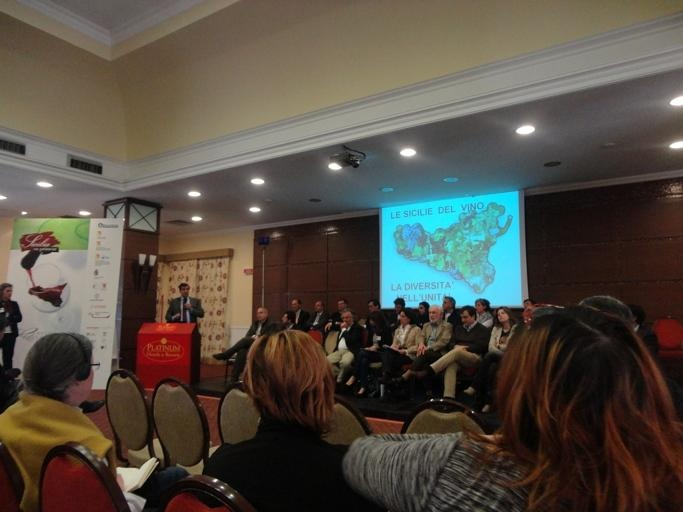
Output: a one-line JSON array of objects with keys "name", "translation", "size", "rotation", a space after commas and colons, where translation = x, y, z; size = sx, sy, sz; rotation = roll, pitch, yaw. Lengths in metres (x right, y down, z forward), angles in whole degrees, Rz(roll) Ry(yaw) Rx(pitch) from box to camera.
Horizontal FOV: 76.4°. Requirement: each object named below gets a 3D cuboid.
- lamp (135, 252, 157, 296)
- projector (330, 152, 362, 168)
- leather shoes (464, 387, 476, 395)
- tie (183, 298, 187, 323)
[{"name": "lamp", "translation": [-3.573, 0.300, 7.905], "size": [0.343, 0.694, 0.172], "rotation": [6, -10, -36]}, {"name": "projector", "translation": [0.054, -1.259, 5.822], "size": [0.338, 0.152, 0.364], "rotation": [7, -10, -44]}, {"name": "leather shoes", "translation": [1.483, 1.535, 4.977], "size": [0.116, 0.103, 0.112], "rotation": [2, -9, -35]}, {"name": "tie", "translation": [-2.642, 0.906, 7.306], "size": [0.087, 0.390, 0.269], "rotation": [3, -8, -19]}]
